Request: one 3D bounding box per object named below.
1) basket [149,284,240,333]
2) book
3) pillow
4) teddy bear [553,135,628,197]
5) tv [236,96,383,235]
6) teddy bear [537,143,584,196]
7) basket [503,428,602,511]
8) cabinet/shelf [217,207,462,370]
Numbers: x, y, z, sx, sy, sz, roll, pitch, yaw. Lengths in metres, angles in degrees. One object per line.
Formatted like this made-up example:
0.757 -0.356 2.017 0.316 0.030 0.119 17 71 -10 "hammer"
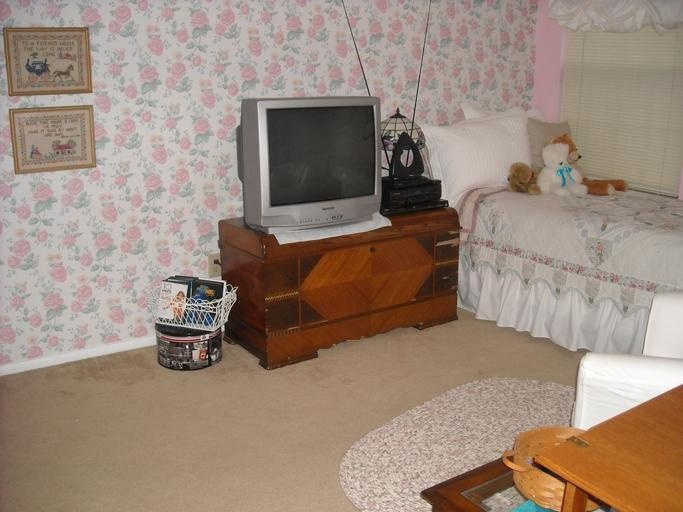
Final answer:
-0.964 0.348 3.297 0.377 0.254 0.520 11 -10 -20 "basket"
-0.906 0.264 3.112 0.311 0.201 0.311 1 14 -19 "book"
1.127 -0.717 3.943 0.791 0.508 0.211 -14 16 -19 "pillow"
1.894 -0.720 4.011 0.435 0.423 0.282 10 35 39 "teddy bear"
-0.235 -0.583 3.260 0.872 0.772 0.527 -12 20 -33 "tv"
1.627 -0.617 3.852 0.359 0.381 0.321 -1 29 18 "teddy bear"
0.581 0.624 1.578 0.273 0.092 0.246 -3 19 6 "basket"
0.012 0.107 3.595 1.462 0.813 0.740 -10 17 -31 "cabinet/shelf"
